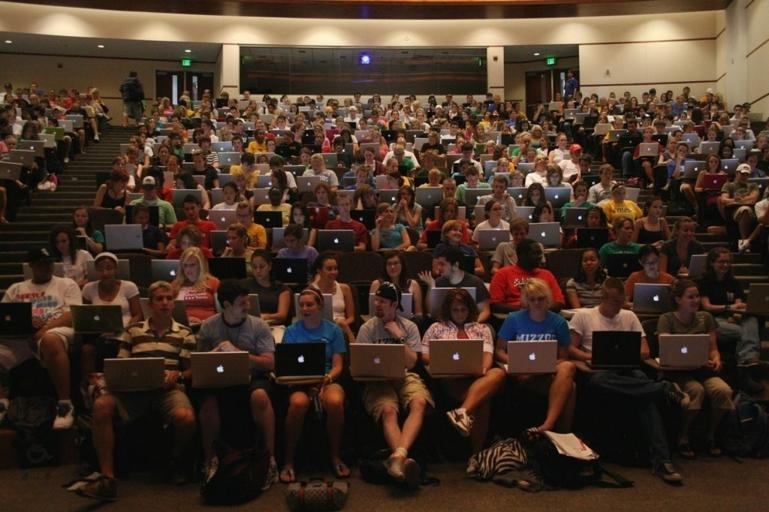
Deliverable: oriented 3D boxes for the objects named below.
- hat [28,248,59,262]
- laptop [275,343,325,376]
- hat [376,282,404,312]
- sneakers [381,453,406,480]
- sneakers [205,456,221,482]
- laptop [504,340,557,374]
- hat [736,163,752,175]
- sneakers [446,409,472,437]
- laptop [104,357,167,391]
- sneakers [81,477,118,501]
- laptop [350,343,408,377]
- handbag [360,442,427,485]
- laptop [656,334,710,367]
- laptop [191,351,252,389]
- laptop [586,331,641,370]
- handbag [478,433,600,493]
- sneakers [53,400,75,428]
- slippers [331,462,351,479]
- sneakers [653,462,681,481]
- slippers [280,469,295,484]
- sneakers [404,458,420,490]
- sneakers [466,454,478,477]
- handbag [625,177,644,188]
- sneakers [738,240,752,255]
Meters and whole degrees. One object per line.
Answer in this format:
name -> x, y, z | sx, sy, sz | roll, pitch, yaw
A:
hat -> -3.757, -0.012, 7.652 | 0.283, 0.132, 0.199 | -4, 2, -2
laptop -> -0.810, 1.007, 6.702 | 0.449, 0.306, 0.315 | 0, 3, -4
hat -> 0.053, 0.422, 7.170 | 0.224, 0.326, 0.467 | 1, 7, 9
sneakers -> 0.081, 1.939, 6.385 | 0.240, 0.230, 0.172 | 4, 7, 28
sneakers -> -1.582, 1.961, 6.392 | 0.094, 0.103, 0.263 | -4, 17, 0
laptop -> 1.436, 0.988, 6.915 | 0.447, 0.319, 0.316 | 0, 10, 0
hat -> 5.609, -1.363, 10.898 | 0.143, 0.104, 0.201 | 5, -7, 4
sneakers -> 0.728, 1.596, 6.641 | 0.213, 0.288, 0.317 | 1, 7, 12
laptop -> -2.359, 1.122, 6.586 | 0.463, 0.315, 0.331 | 2, 13, -5
sneakers -> -2.588, 2.129, 6.376 | 0.382, 0.172, 0.136 | 21, -6, -28
laptop -> -0.060, 1.028, 6.670 | 0.469, 0.320, 0.329 | 1, 7, 2
handbag -> 0.006, 1.977, 6.602 | 0.767, 0.326, 0.265 | -4, 30, 29
laptop -> 2.978, 0.944, 6.902 | 0.445, 0.307, 0.326 | 0, 5, 4
laptop -> -1.562, 1.073, 6.576 | 0.487, 0.330, 0.348 | 2, 12, -4
laptop -> 2.292, 0.934, 6.894 | 0.480, 0.340, 0.344 | 0, 6, 0
handbag -> 1.359, 1.969, 6.567 | 0.732, 0.263, 0.631 | -4, -3, -4
sneakers -> -3.220, 1.606, 6.995 | 0.261, 0.269, 0.165 | 3, -10, 27
slippers -> -0.407, 2.050, 6.751 | 0.174, 0.150, 0.239 | -2, 7, -18
sneakers -> 2.685, 2.056, 6.613 | 0.109, 0.108, 0.271 | 1, -4, -13
slippers -> -0.923, 2.088, 6.615 | 0.093, 0.061, 0.163 | -4, 21, -8
sneakers -> 0.263, 1.999, 6.402 | 0.111, 0.301, 0.117 | -13, 13, -31
sneakers -> 0.850, 2.014, 6.657 | 0.120, 0.162, 0.148 | 15, 43, 11
handbag -> 4.675, -1.362, 13.022 | 0.244, 0.126, 0.300 | 1, 5, 5
sneakers -> 5.143, -0.129, 9.928 | 0.130, 0.108, 0.221 | -2, 34, 12
